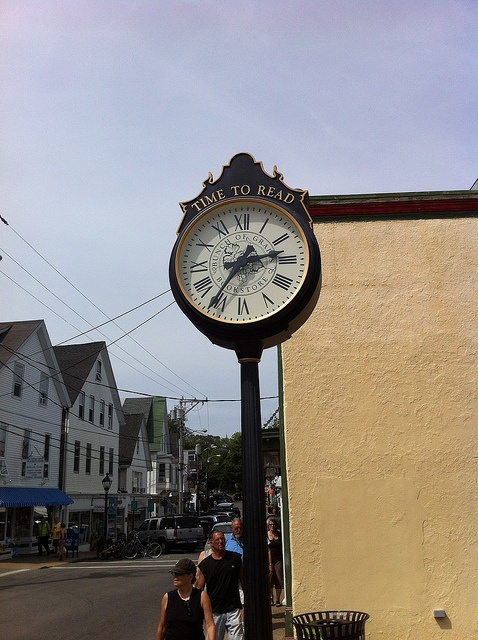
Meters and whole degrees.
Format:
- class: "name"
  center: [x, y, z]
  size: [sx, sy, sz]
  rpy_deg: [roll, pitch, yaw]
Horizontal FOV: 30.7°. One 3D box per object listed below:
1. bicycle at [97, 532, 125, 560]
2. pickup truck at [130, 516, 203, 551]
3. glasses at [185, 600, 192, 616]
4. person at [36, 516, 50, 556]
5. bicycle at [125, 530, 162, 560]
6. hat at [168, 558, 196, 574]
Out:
- class: "bicycle"
  center: [-4.277, 7.562, 28.581]
  size: [1.111, 0.690, 0.549]
  rpy_deg: [-8, -17, 13]
- class: "pickup truck"
  center: [-2.745, 7.823, 32.044]
  size: [2.414, 0.927, 1.287]
  rpy_deg: [-6, -13, 42]
- class: "glasses"
  center: [-0.434, 2.390, 7.196]
  size: [0.028, 0.076, 0.077]
  rpy_deg: [-8, -21, 3]
- class: "person"
  center: [-6.767, 7.482, 29.844]
  size: [0.439, 1.230, 1.917]
  rpy_deg: [3, -17, -12]
- class: "bicycle"
  center: [-3.200, 7.417, 28.307]
  size: [1.159, 0.771, 1.123]
  rpy_deg: [1, -17, -8]
- class: "hat"
  center: [-0.468, 2.099, 7.343]
  size: [0.142, 0.111, 0.201]
  rpy_deg: [-11, -23, 34]
